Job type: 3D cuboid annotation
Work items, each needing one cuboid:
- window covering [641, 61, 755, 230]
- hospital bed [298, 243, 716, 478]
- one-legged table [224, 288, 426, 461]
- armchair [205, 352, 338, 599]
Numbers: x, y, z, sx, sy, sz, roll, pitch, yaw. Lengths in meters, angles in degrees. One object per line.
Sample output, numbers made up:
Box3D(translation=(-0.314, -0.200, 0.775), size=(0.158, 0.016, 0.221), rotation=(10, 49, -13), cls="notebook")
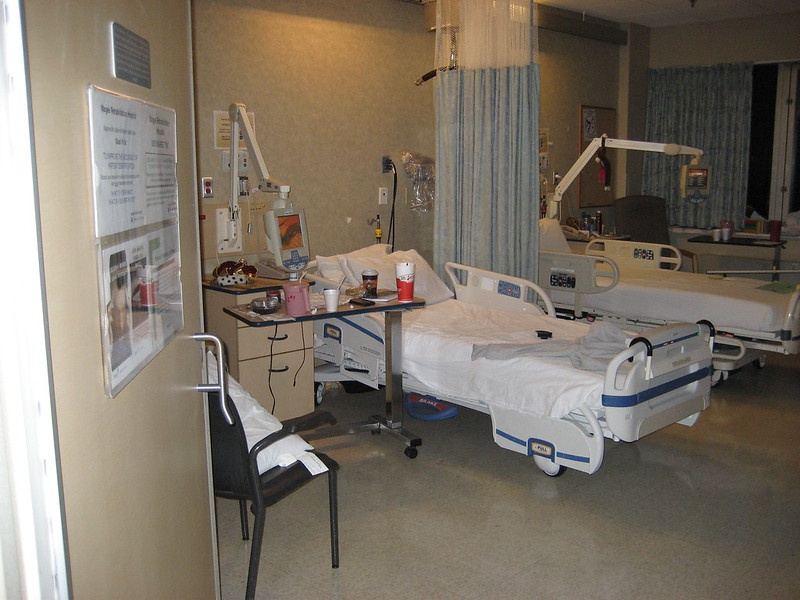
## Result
Box3D(translation=(3.466, -1.859, 7.200), size=(0.995, 1.616, 0.106), rotation=(6, -3, 20), cls="window covering")
Box3D(translation=(0.477, 0.257, 3.774), size=(2.274, 0.965, 1.236), rotation=(10, 17, 41), cls="hospital bed")
Box3D(translation=(-0.411, 0.384, 3.430), size=(0.874, 0.784, 0.411), rotation=(-6, 8, -37), cls="one-legged table")
Box3D(translation=(-0.471, 0.660, 2.440), size=(0.482, 0.933, 0.660), rotation=(-4, 14, -13), cls="armchair")
